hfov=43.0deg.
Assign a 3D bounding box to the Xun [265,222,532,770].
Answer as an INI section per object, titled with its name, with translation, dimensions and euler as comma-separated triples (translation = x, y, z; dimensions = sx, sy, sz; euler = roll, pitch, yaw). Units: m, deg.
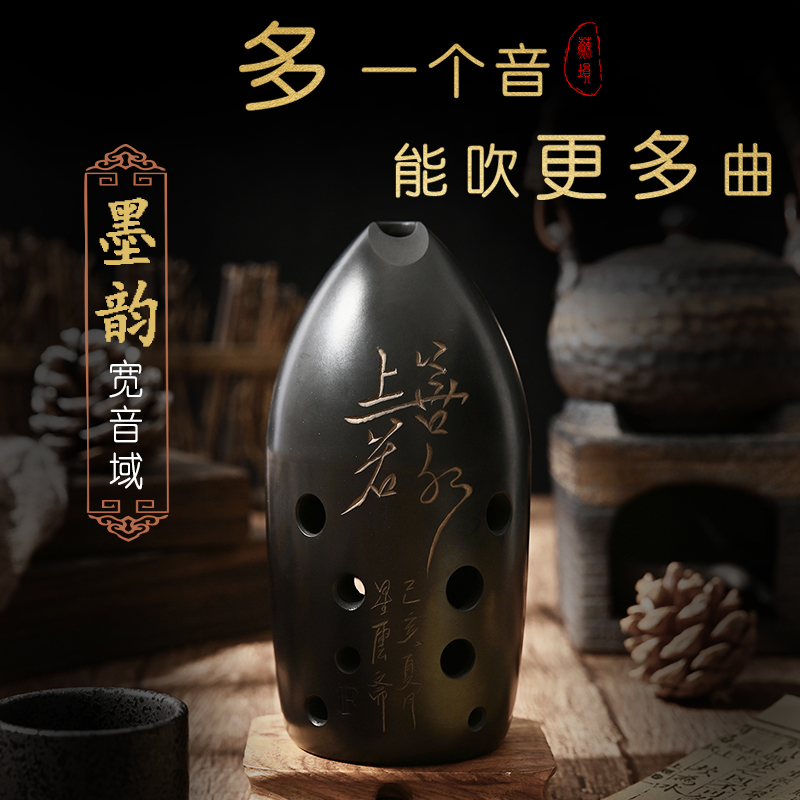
[Xun]
translation = -0.001, 0.103, 1.093
dimensions = 0.281, 0.585, 0.131
euler = -4, 7, -7
